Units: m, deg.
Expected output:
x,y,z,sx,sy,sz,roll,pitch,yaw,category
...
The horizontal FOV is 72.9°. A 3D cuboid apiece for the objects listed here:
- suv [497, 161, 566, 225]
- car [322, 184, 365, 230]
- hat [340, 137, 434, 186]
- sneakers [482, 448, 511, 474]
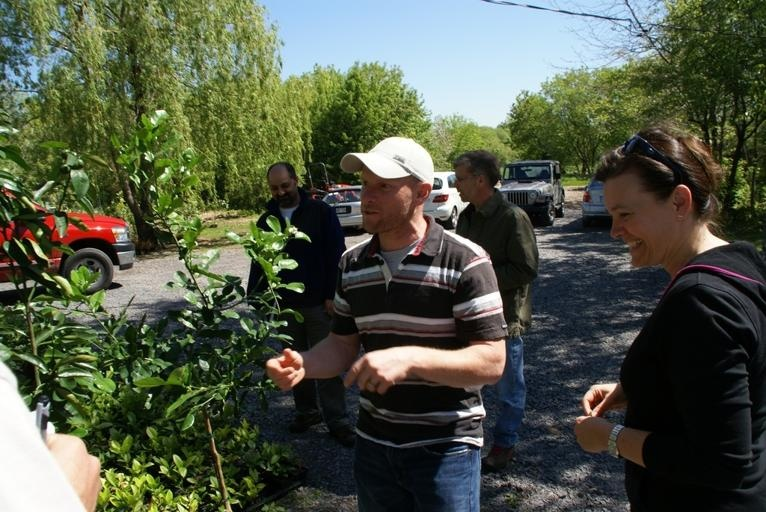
x,y,z,sx,sy,sz,roll,pitch,yaw,category
5.533,-2.431,20.175,2.666,2.570,5.018,-1,5,21,suv
-1.657,-1.953,18.932,1.635,1.532,3.147,-4,20,-10,car
0.025,-0.482,2.820,0.409,0.226,0.271,15,-2,-34,hat
0.897,1.650,4.272,0.330,0.233,0.116,8,-8,-41,sneakers
